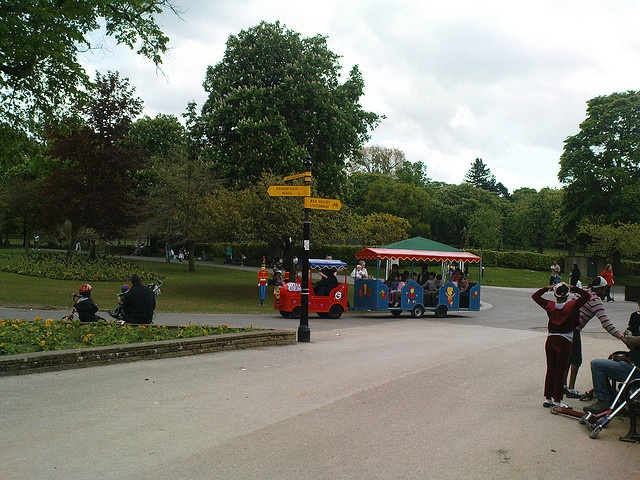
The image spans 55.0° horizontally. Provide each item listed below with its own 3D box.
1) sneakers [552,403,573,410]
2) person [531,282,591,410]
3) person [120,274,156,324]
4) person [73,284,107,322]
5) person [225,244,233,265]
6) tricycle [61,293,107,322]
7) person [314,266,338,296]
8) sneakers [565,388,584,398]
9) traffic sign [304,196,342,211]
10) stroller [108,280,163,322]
[{"bbox_3d":[4.592,3.167,11.582,0.337,0.132,0.173,-1,-1,-5],"label":"sneakers"},{"bbox_3d":[4.701,2.036,11.945,0.757,2.407,1.005,3,3,9],"label":"person"},{"bbox_3d":[-4.808,1.595,16.212,0.804,1.366,0.585,1,3,-20],"label":"person"},{"bbox_3d":[-6.429,1.687,16.836,0.612,0.992,1.863,1,2,-22],"label":"person"},{"bbox_3d":[-8.656,1.555,58.004,0.555,1.588,2.163,2,2,-5],"label":"person"},{"bbox_3d":[-7.361,2.129,18.958,1.379,0.939,0.884,5,-3,-12],"label":"tricycle"},{"bbox_3d":[0.247,1.732,25.065,1.032,1.112,0.722,2,3,-20],"label":"person"},{"bbox_3d":[5.193,3.142,12.539,0.388,0.179,0.145,0,6,-12],"label":"sneakers"},{"bbox_3d":[0.046,-1.047,18.189,1.141,0.345,0.555,2,2,-32],"label":"traffic sign"},{"bbox_3d":[-5.035,1.627,16.821,0.927,1.055,1.528,3,4,-7],"label":"stroller"}]
